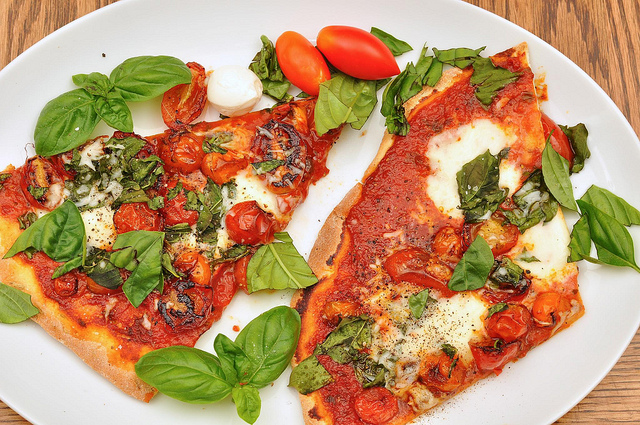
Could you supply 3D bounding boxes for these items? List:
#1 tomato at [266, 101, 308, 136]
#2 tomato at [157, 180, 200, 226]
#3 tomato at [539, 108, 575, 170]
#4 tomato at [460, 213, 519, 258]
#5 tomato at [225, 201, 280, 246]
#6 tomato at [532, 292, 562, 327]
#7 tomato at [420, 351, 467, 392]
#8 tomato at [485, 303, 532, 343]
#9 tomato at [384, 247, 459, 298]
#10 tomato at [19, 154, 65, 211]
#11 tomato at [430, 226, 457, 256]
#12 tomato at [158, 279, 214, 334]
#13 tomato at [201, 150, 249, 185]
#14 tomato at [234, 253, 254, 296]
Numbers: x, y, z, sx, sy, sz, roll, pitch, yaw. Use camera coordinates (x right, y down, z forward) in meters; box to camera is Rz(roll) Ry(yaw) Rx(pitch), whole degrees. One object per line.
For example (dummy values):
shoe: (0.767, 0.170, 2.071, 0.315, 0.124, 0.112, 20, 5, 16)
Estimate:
tomato: (-0.202, -0.657, 4.555, 0.248, 0.085, 0.194, 39, 79, 6)
tomato: (-0.948, -0.041, 4.395, 0.244, 0.161, 0.307, 6, 87, 1)
tomato: (1.625, -0.494, 4.598, 0.124, 0.214, 0.405, -25, 91, -23)
tomato: (1.161, 0.179, 4.400, 0.403, 0.118, 0.406, -10, 46, 28)
tomato: (-0.478, 0.073, 4.434, 0.293, 0.124, 0.302, -6, 84, 1)
tomato: (1.476, 0.624, 4.335, 0.173, 0.062, 0.211, 21, 89, 1)
tomato: (0.792, 1.049, 4.331, 0.252, 0.078, 0.265, -21, 88, -5)
tomato: (1.230, 0.724, 4.345, 0.296, 0.107, 0.208, -29, 84, -2)
tomato: (0.670, 0.385, 4.383, 0.421, 0.104, 0.294, 19, 85, 2)
tomato: (-1.864, -0.203, 4.450, 0.278, 0.128, 0.377, -9, 85, -27)
tomato: (0.811, 0.192, 4.400, 0.173, 0.055, 0.180, -1, 84, 1)
tomato: (-0.896, 0.624, 4.439, 0.346, 0.114, 0.343, 0, 84, 1)
tomato: (-0.621, -0.319, 4.579, 0.413, 0.345, 0.210, -6, 97, 10)
tomato: (-0.510, 0.422, 4.558, 0.181, 0.130, 0.241, 1, 88, 0)
